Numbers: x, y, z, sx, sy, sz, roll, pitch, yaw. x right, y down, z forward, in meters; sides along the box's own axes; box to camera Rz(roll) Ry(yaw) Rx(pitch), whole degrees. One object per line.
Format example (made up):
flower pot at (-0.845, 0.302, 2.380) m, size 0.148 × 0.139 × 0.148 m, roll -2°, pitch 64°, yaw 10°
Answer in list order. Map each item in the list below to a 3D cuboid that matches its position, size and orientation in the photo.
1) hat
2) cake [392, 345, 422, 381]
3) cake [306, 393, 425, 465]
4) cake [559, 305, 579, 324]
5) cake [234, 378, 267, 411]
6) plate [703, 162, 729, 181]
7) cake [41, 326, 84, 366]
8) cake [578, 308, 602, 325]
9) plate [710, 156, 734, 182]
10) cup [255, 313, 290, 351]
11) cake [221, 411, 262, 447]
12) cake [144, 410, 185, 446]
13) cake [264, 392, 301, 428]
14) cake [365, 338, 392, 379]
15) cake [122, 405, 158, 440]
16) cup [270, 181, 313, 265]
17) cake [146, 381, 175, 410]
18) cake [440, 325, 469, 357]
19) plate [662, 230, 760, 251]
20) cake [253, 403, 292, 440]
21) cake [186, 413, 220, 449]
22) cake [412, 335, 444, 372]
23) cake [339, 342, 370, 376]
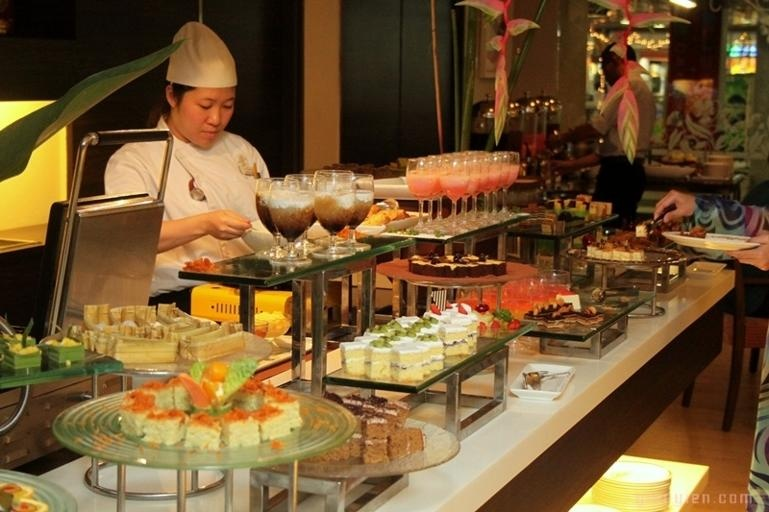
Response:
hat at (-0.794, -0.868, 2.629) m, size 0.338 × 0.236 × 0.239 m, roll -6°, pitch 31°, yaw -36°
cake at (0.054, 0.246, 1.424) m, size 0.073 × 0.080 × 0.086 m, roll -2°, pitch 3°, yaw -6°
cake at (-0.029, 0.372, 1.331) m, size 0.225 × 0.087 × 0.241 m, roll 0°, pitch 10°, yaw 3°
cake at (0.661, 0.211, 2.204) m, size 0.060 × 0.054 × 0.059 m, roll 1°, pitch 2°, yaw 9°
cake at (-0.221, 0.236, 1.049) m, size 0.062 × 0.032 × 0.063 m, roll 4°, pitch 11°, yaw 22°
plate at (3.324, -0.842, 6.167) m, size 0.202 × 0.114 × 0.193 m, roll -1°, pitch 3°, yaw -7°
cake at (-0.551, 0.146, 1.067) m, size 0.077 × 0.048 × 0.081 m, roll -4°, pitch 12°, yaw -36°
cake at (0.746, 0.214, 2.211) m, size 0.066 × 0.028 × 0.064 m, roll -3°, pitch 7°, yaw -20°
plate at (3.348, -0.873, 6.123) m, size 0.251 × 0.213 × 0.246 m, roll 1°, pitch 7°, yaw 26°
cup at (-0.331, 0.224, 1.811) m, size 0.095 × 0.057 × 0.092 m, roll 1°, pitch 5°, yaw 0°
cake at (-0.222, 0.270, 0.948) m, size 0.055 × 0.045 × 0.053 m, roll -1°, pitch 4°, yaw -18°
cake at (-0.340, 0.266, 0.945) m, size 0.058 × 0.049 × 0.058 m, roll 3°, pitch 5°, yaw 19°
cake at (-0.163, 0.249, 1.015) m, size 0.054 × 0.049 × 0.053 m, roll 0°, pitch 2°, yaw -43°
cake at (-0.011, 0.235, 1.393) m, size 0.052 × 0.080 × 0.044 m, roll -1°, pitch 11°, yaw -2°
cake at (-0.378, 0.258, 0.965) m, size 0.052 × 0.046 × 0.050 m, roll 2°, pitch 7°, yaw 0°
cup at (-0.218, -0.095, 1.444) m, size 0.102 × 0.186 × 0.234 m, roll -2°, pitch 11°, yaw -8°
cake at (-0.374, 0.231, 1.025) m, size 0.047 × 0.042 × 0.043 m, roll -5°, pitch 10°, yaw -32°
cake at (0.176, 0.214, 1.541) m, size 0.080 × 0.071 × 0.077 m, roll 1°, pitch 7°, yaw 12°
plate at (1.124, -0.046, 2.133) m, size 0.279 × 0.060 × 0.315 m, roll 4°, pitch 11°, yaw 24°
cake at (-0.181, 0.261, 0.991) m, size 0.052 × 0.043 × 0.051 m, roll -5°, pitch 11°, yaw -33°
cake at (-0.277, 0.272, 0.937) m, size 0.048 × 0.036 × 0.060 m, roll 3°, pitch 1°, yaw -6°
cake at (0.115, 0.226, 1.433) m, size 0.089 × 0.080 × 0.071 m, roll -2°, pitch 2°, yaw -45°
cake at (-0.069, 0.232, 1.387) m, size 0.076 × 0.068 × 0.074 m, roll 0°, pitch 2°, yaw -31°
